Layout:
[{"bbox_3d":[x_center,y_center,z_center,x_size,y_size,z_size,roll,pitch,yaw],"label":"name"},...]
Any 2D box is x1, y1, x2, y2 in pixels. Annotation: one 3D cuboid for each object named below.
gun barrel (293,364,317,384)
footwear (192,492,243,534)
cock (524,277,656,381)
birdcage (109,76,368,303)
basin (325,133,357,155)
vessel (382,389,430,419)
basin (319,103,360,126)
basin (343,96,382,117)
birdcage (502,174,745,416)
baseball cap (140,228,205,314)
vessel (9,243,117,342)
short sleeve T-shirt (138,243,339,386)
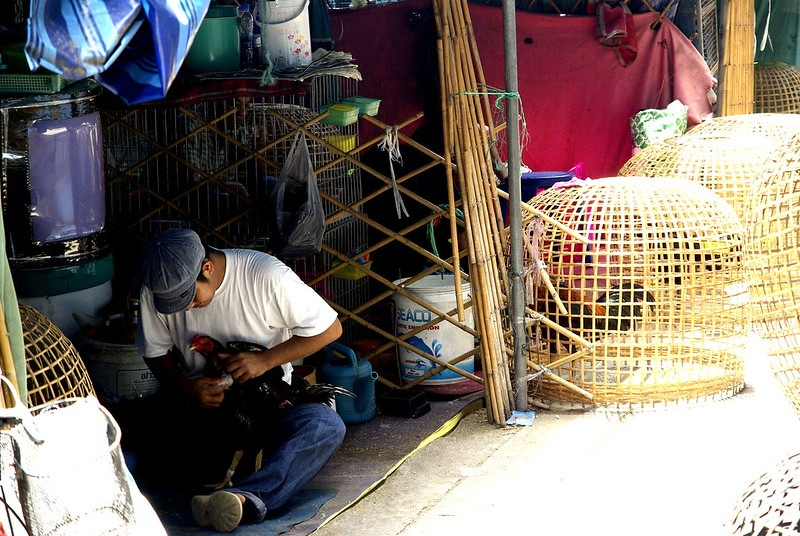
[{"bbox_3d":[-0.529,0.573,5.075,0.110,0.118,0.109,-11,24,-23],"label":"gun barrel"},{"bbox_3d":[-0.805,1.073,4.085,0.246,0.186,0.079,-4,19,13],"label":"footwear"},{"bbox_3d":[0.986,0.284,4.944,0.901,0.592,0.322,1,0,6],"label":"cock"},{"bbox_3d":[-0.938,-0.421,5.113,1.276,1.124,0.726,-2,-8,3],"label":"birdcage"},{"bbox_3d":[-0.324,-0.719,5.342,0.163,0.046,0.162,5,3,0],"label":"basin"},{"bbox_3d":[0.021,0.757,5.140,0.262,0.113,0.172,1,20,27],"label":"vessel"},{"bbox_3d":[-0.319,-0.809,4.876,0.206,0.103,0.171,-10,18,-5],"label":"basin"},{"bbox_3d":[-0.210,-0.869,4.937,0.166,0.076,0.129,6,15,24],"label":"basin"},{"bbox_3d":[1.298,0.135,5.355,1.245,1.134,1.225,-1,4,12],"label":"birdcage"},{"bbox_3d":[-0.992,0.023,4.102,0.251,0.358,0.166,-15,-25,21],"label":"baseball cap"},{"bbox_3d":[-1.714,0.103,4.831,0.452,0.424,0.453,-4,15,-11],"label":"vessel"},{"bbox_3d":[-0.699,0.367,4.703,1.097,0.792,0.554,0,45,13],"label":"short sleeve T-shirt"}]
